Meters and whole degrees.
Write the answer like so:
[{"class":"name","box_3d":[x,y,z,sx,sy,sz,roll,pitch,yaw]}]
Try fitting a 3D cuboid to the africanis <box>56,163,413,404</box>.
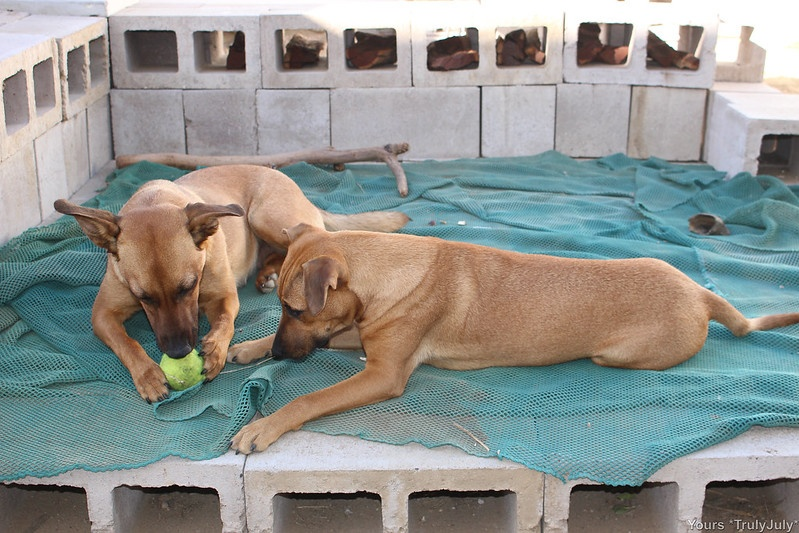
[{"class":"africanis","box_3d":[-1.638,-0.053,7.009,1.996,0.926,2.319,3,27,13]}]
